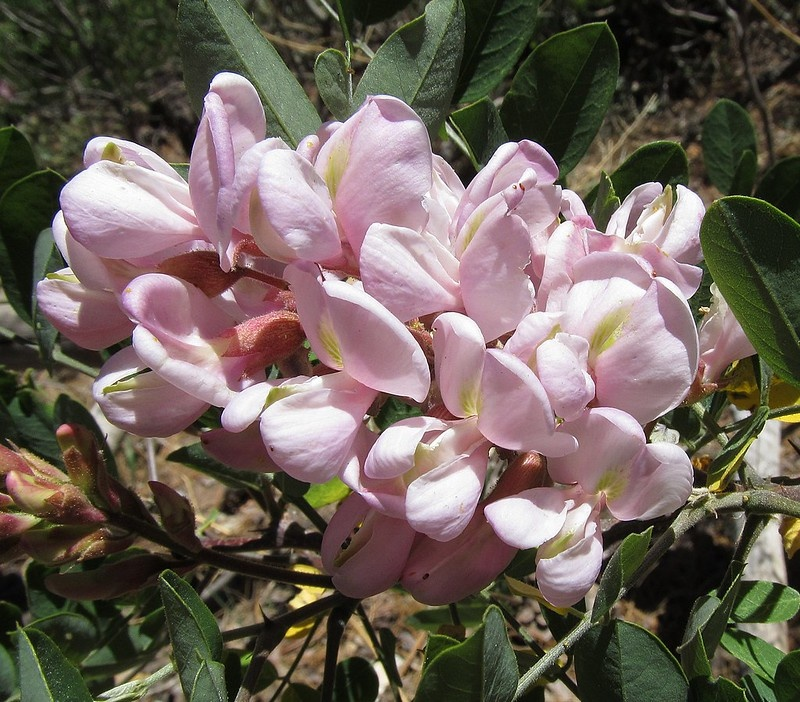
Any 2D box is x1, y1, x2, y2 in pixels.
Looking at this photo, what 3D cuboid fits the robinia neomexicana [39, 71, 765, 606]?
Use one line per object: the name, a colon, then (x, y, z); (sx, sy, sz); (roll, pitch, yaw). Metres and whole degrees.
robinia neomexicana: (-0.001, 0.021, 0.888); (0.899, 0.418, 0.469); (-4, 58, 0)
